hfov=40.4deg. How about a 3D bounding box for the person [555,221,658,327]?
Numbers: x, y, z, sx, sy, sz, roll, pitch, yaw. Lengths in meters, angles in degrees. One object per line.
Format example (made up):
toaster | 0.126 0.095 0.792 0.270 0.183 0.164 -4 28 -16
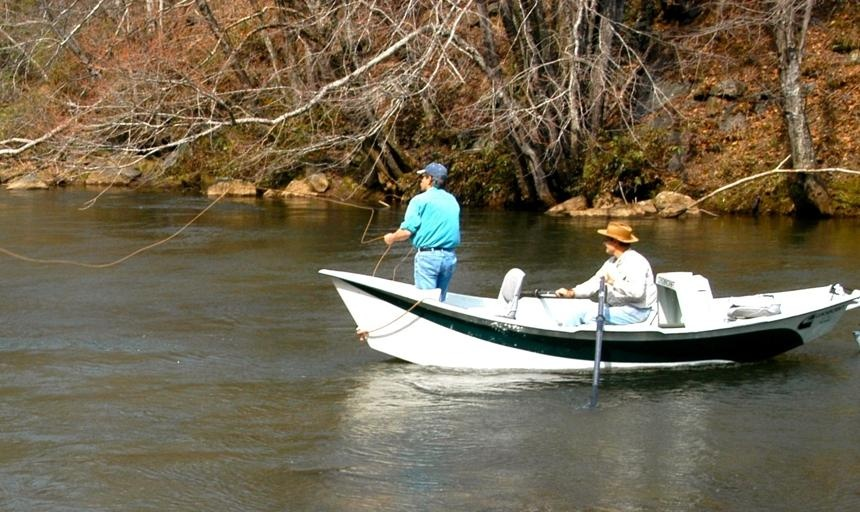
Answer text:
person | 3.699 0.379 23.996 1.820 2.118 0.763 0 4 7

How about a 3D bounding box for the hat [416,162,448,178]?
hat | -0.094 -1.851 24.368 0.809 0.304 0.485 2 -3 9

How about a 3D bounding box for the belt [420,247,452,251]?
belt | 0.087 -0.129 24.140 0.585 0.071 0.109 0 2 -9
